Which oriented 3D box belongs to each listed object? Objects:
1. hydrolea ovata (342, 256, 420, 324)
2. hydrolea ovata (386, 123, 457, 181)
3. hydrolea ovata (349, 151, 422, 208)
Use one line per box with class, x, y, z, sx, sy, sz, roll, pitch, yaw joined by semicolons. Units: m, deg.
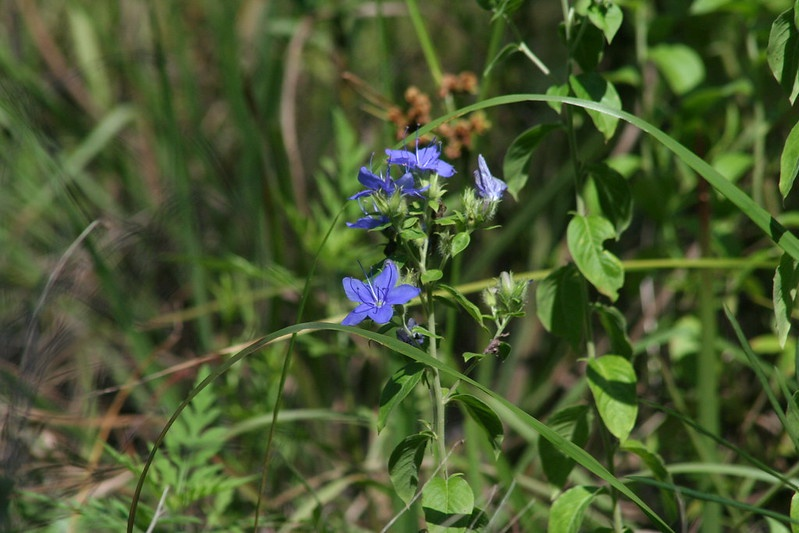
hydrolea ovata;-0.046;0.063;1.879;0.146;0.071;0.137;-1;18;46
hydrolea ovata;0.045;-0.241;1.945;0.097;0.053;0.101;1;-5;-39
hydrolea ovata;-0.010;-0.185;1.917;0.103;0.055;0.120;1;-8;-7
